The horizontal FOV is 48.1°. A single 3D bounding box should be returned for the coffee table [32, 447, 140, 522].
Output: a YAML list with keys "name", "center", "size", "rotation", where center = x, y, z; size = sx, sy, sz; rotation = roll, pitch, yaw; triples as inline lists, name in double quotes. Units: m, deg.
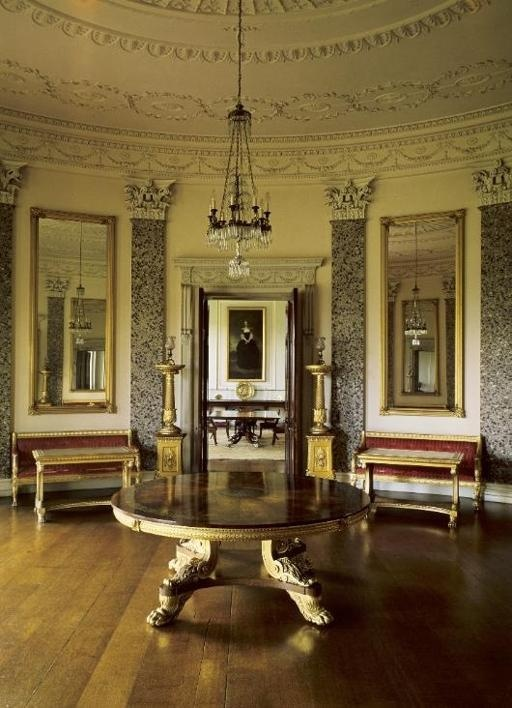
- name: "coffee table"
  center: [-2.231, 1.400, 7.152]
  size: [1.501, 0.805, 0.524]
  rotation: [2, 4, -28]

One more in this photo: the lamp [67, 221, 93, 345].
- name: "lamp"
  center: [-2.301, -0.859, 7.479]
  size: [0.301, 1.400, 0.293]
  rotation: [1, 11, -17]

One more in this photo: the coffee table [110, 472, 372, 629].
- name: "coffee table"
  center: [-0.109, 1.273, 3.771]
  size: [1.635, 0.679, 1.500]
  rotation: [1, -3, -12]

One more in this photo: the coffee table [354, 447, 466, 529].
- name: "coffee table"
  center: [1.678, 1.418, 6.288]
  size: [1.164, 0.683, 0.950]
  rotation: [-1, -3, 31]

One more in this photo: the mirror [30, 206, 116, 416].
- name: "mirror"
  center: [-2.342, -0.474, 7.471]
  size: [1.225, 2.703, 0.098]
  rotation: [4, 13, 5]
